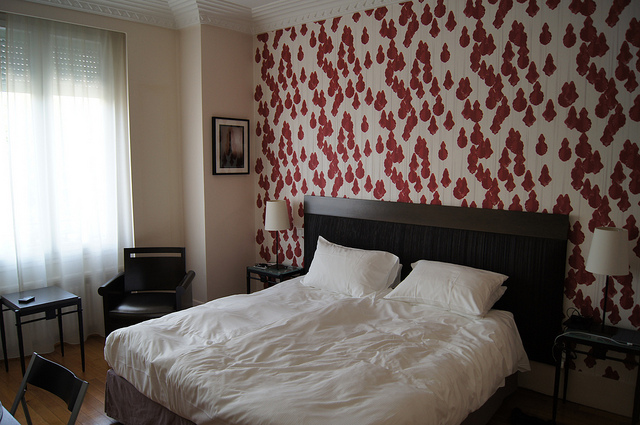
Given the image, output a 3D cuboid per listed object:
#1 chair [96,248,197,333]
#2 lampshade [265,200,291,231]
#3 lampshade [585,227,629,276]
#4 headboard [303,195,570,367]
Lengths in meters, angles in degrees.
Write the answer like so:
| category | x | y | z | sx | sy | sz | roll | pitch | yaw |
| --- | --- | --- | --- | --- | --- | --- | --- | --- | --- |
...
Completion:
| category | x | y | z | sx | sy | sz | roll | pitch | yaw |
| --- | --- | --- | --- | --- | --- | --- | --- | --- | --- |
| chair | -2.025 | 1.134 | 5.515 | 0.896 | 1.388 | 0.787 | 2 | 4 | -17 |
| lampshade | -0.553 | 0.036 | 6.043 | 0.324 | 0.391 | 0.340 | 8 | 14 | 31 |
| lampshade | 2.679 | 0.339 | 4.262 | 0.331 | 0.425 | 0.332 | -19 | 20 | -35 |
| headboard | 1.230 | 0.805 | 4.806 | 2.779 | 1.876 | 0.071 | 5 | -8 | -4 |
